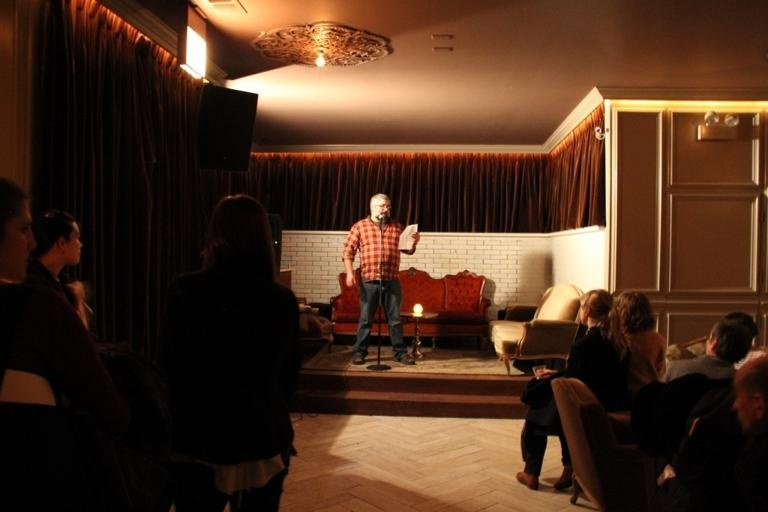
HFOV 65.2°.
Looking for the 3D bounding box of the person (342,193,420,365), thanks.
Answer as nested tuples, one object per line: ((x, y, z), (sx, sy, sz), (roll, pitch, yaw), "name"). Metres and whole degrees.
((-0.039, 0.297, 7.149), (0.777, 2.045, 0.766), (-3, 9, -16), "person")

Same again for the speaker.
((-1.530, -1.262, 5.904), (0.562, 0.827, 0.179), (-3, 9, -16), "speaker")

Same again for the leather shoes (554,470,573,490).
((1.406, 1.747, 4.671), (0.079, 0.098, 0.231), (7, -13, -27), "leather shoes")

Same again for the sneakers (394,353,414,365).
((0.245, 1.222, 7.181), (0.104, 0.110, 0.272), (4, -9, -38), "sneakers")
